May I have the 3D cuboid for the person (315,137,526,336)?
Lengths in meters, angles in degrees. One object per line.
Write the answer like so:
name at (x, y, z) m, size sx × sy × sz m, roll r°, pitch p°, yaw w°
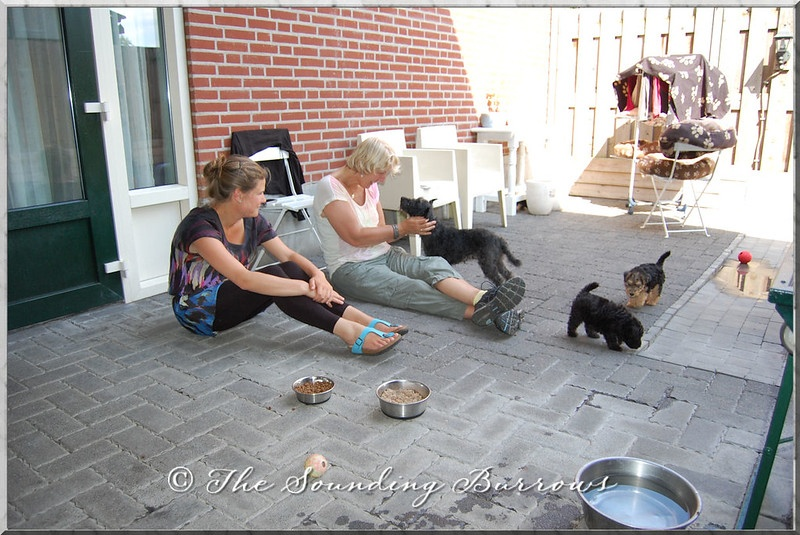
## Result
person at (0.140, -0.257, 3.767) m, size 1.737 × 1.187 × 0.719 m, roll 20°, pitch 27°, yaw 31°

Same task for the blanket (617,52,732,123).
blanket at (3.825, -2.383, 6.546) m, size 0.876 × 0.363 × 1.164 m, roll 23°, pitch 5°, yaw 35°

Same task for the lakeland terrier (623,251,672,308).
lakeland terrier at (1.993, 0.104, 4.101) m, size 0.225 × 0.332 × 0.767 m, roll 14°, pitch 21°, yaw 40°

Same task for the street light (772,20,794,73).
street light at (4.922, -2.849, 6.388) m, size 0.236 × 0.615 × 0.819 m, roll 11°, pitch 22°, yaw 31°

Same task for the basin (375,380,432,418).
basin at (0.009, 0.728, 2.797) m, size 0.286 × 0.124 × 0.245 m, roll 4°, pitch 18°, yaw 15°

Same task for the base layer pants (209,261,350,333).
base layer pants at (-0.915, 0.187, 3.457) m, size 0.938 × 0.353 × 0.380 m, roll -15°, pitch 5°, yaw 12°

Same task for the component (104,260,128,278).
component at (-2.355, 0.006, 4.107) m, size 0.052 × 0.122 × 0.136 m, roll 8°, pitch 11°, yaw 37°

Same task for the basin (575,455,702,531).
basin at (0.984, 0.963, 2.107) m, size 0.357 × 0.111 × 0.343 m, roll -2°, pitch 14°, yaw 0°

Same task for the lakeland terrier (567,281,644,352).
lakeland terrier at (1.414, 0.354, 3.399) m, size 0.216 × 0.388 × 0.522 m, roll -11°, pitch 24°, yaw -28°

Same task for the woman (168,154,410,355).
woman at (-0.720, -0.055, 3.363) m, size 1.727 × 1.159 × 0.746 m, roll 11°, pitch 16°, yaw 13°

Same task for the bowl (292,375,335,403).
bowl at (-0.502, 0.707, 2.905) m, size 0.220 × 0.090 × 0.218 m, roll -1°, pitch 17°, yaw 0°

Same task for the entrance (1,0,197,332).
entrance at (-2.456, -0.876, 4.003) m, size 0.472 × 2.365 × 1.676 m, roll 15°, pitch 25°, yaw 38°

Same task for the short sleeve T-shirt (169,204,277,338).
short sleeve T-shirt at (-1.319, -0.009, 3.565) m, size 0.593 × 0.885 × 0.863 m, roll 9°, pitch 17°, yaw 16°

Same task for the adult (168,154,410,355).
adult at (-0.723, -0.048, 3.346) m, size 1.708 × 1.143 × 0.738 m, roll 12°, pitch 18°, yaw 12°

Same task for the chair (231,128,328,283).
chair at (-1.056, -0.565, 4.817) m, size 0.883 × 1.372 × 0.866 m, roll 16°, pitch 24°, yaw 17°

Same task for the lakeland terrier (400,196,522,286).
lakeland terrier at (0.513, -0.190, 4.334) m, size 1.124 × 0.723 × 0.362 m, roll 9°, pitch 29°, yaw 8°

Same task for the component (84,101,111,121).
component at (-2.354, -1.225, 3.865) m, size 0.138 × 0.138 × 0.033 m, roll -9°, pitch 6°, yaw -19°

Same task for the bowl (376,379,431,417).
bowl at (0.011, 0.765, 2.809) m, size 0.299 × 0.112 × 0.293 m, roll 1°, pitch 4°, yaw 0°
